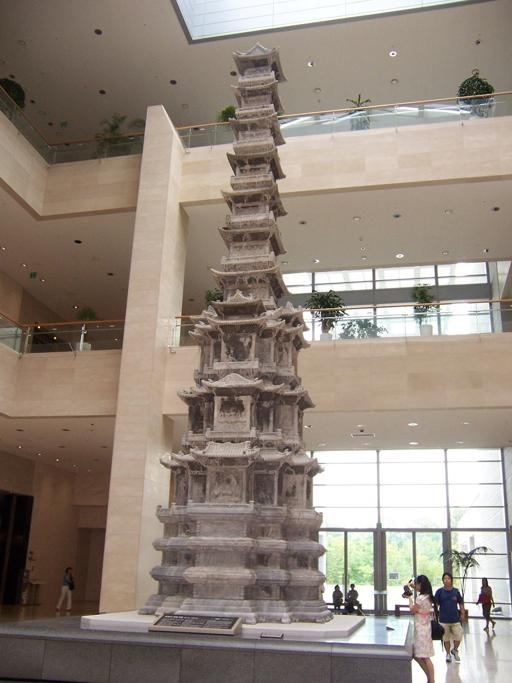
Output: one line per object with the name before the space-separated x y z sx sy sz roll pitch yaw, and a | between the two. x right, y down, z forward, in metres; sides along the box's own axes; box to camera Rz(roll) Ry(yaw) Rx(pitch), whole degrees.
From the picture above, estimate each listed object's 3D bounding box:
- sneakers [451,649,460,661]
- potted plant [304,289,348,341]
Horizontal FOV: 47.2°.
sneakers | 2.975 4.685 8.726 0.108 0.114 0.276 -2 -32 7
potted plant | 1.758 -0.695 14.520 0.892 1.493 1.069 -1 -16 8
